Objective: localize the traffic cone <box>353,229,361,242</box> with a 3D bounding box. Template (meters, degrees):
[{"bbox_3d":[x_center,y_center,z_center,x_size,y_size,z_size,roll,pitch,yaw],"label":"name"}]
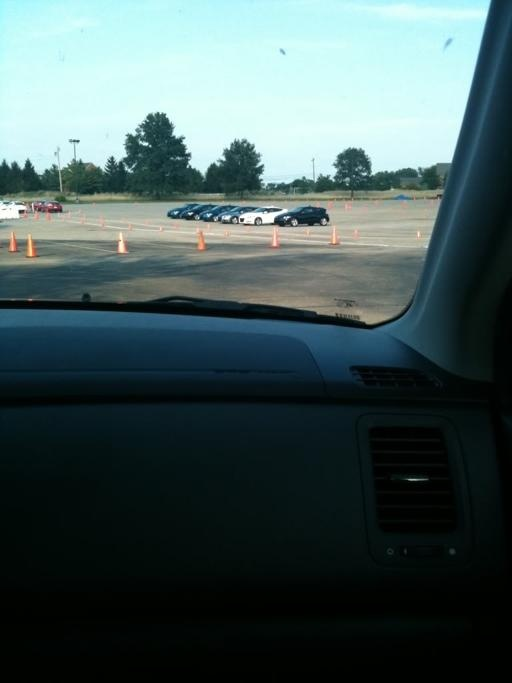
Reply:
[{"bbox_3d":[2.370,-2.490,15.966,0.248,0.294,0.256,-7,13,-17],"label":"traffic cone"}]
